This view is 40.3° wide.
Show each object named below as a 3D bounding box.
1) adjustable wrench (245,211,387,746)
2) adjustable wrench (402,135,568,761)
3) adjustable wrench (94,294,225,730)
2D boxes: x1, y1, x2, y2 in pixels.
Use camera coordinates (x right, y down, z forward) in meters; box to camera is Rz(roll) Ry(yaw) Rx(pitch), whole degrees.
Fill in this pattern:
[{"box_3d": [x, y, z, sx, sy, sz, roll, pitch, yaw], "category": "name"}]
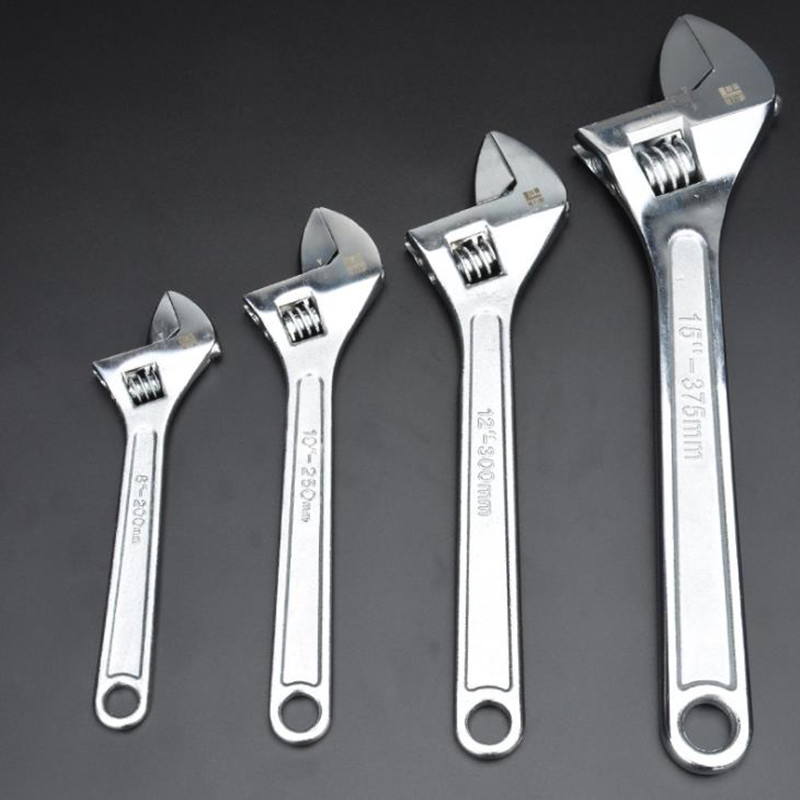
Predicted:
[{"box_3d": [-0.155, 0.101, 1.819, 0.192, 0.900, 0.058, -1, -17, 7], "category": "adjustable wrench"}, {"box_3d": [0.144, 0.036, 1.881, 0.223, 1.028, 0.079, 1, -19, 5], "category": "adjustable wrench"}, {"box_3d": [-0.439, 0.178, 1.815, 0.183, 0.713, 0.055, -2, -14, 0], "category": "adjustable wrench"}]
